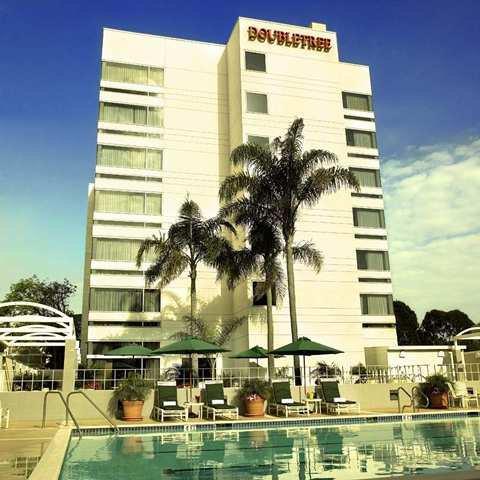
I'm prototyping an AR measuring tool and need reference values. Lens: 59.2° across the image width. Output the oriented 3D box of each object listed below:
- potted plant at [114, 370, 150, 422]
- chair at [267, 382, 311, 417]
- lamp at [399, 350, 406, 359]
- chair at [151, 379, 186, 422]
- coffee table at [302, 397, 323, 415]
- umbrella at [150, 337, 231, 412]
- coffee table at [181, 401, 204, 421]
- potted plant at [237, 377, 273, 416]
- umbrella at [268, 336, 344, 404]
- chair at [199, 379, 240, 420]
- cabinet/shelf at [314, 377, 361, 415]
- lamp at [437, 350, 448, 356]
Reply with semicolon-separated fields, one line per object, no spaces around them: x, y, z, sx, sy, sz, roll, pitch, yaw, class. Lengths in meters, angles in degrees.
-4.037;5.906;16.095;1.609;2.049;1.499;3;-20;-14;potted plant
1.953;6.509;17.209;0.981;1.264;1.822;4;-16;-17;chair
11.130;7.921;29.009;0.459;0.482;0.394;-6;-19;15;lamp
-2.688;6.241;16.210;1.006;1.317;1.724;9;-15;-26;chair
3.022;7.047;17.788;0.749;0.752;0.636;6;-25;-16;coffee table
-2.111;5.128;17.892;2.296;2.218;2.293;0;1;-40;umbrella
-1.885;6.795;16.788;0.880;0.709;0.912;4;-24;-13;coffee table
0.518;6.400;17.378;1.458;1.592;1.433;4;-24;-6;potted plant
2.849;5.635;18.708;2.677;2.711;2.729;0;-2;-32;umbrella
-0.811;6.214;16.206;0.908;1.187;1.692;6;-15;-21;chair
4.018;6.661;17.986;1.473;1.336;2.838;-3;-19;7;cabinet/shelf
13.870;7.876;29.080;0.801;0.374;0.233;7;-20;-22;lamp
